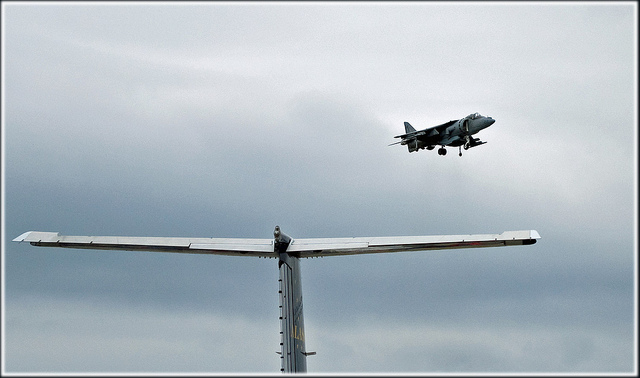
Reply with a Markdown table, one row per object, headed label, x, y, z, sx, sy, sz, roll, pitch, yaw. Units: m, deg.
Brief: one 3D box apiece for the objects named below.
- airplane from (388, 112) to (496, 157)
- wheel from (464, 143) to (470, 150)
| label | x | y | z | sx | sy | sz | roll | pitch | yaw |
| --- | --- | --- | --- | --- | --- | --- | --- | --- | --- |
| airplane | 6.874 | -2.928 | 68.070 | 4.364 | 4.657 | 1.789 | -16 | -96 | 42 |
| wheel | 8.771 | -2.577 | 77.078 | 0.546 | 0.115 | 0.472 | -1 | -89 | 3 |
